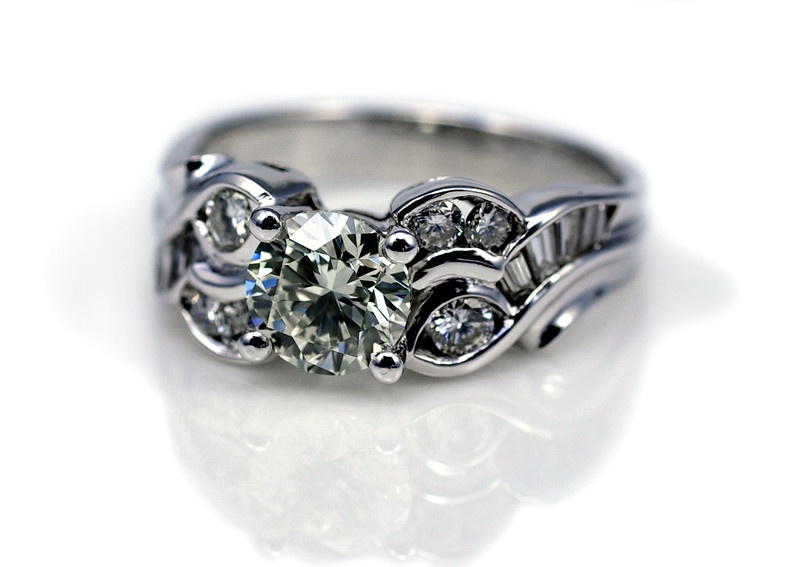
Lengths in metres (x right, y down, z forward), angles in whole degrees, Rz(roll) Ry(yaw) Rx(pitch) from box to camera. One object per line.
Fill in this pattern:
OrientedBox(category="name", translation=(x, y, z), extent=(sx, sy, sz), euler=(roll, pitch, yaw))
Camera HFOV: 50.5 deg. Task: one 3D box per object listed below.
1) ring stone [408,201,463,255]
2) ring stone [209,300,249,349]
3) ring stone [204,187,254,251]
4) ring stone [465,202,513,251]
OrientedBox(category="ring stone", translation=(0.105, -0.158, 2.325), extent=(0.127, 0.142, 0.054), euler=(15, 10, -13))
OrientedBox(category="ring stone", translation=(-0.498, 0.107, 2.469), extent=(0.103, 0.090, 0.128), euler=(4, 22, -11))
OrientedBox(category="ring stone", translation=(-0.505, -0.194, 2.487), extent=(0.145, 0.174, 0.042), euler=(-13, 5, 7))
OrientedBox(category="ring stone", translation=(0.257, -0.164, 2.363), extent=(0.130, 0.132, 0.048), euler=(39, 20, 30))
